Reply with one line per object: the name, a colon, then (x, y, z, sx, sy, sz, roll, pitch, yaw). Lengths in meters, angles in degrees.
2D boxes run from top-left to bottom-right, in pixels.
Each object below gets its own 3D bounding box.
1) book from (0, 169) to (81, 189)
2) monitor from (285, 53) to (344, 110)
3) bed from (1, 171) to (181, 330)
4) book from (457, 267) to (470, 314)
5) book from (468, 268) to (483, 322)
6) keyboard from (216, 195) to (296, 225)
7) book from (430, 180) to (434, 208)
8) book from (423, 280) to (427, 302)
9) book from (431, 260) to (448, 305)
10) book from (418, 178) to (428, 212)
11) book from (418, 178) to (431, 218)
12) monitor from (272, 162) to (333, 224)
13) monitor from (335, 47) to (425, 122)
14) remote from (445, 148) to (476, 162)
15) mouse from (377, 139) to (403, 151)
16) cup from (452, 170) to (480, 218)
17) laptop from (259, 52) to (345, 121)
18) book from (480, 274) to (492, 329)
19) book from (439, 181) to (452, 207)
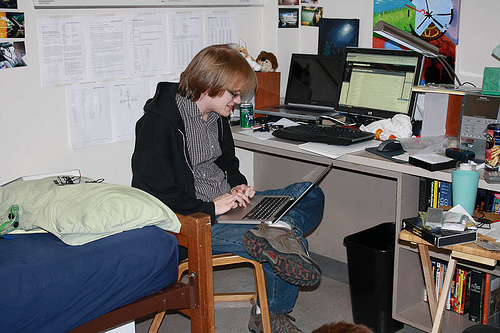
book: (-1.116, 0.053, 2.073, 0.358, 0.040, 0.227, -10, 15, -39)
monitor: (0.375, -0.595, 2.708, 0.368, 0.411, 0.589, -15, 22, -32)
bed: (-0.663, 0.335, 1.562, 0.618, 0.220, 0.601, -9, 22, -37)
book: (1.228, 0.725, 2.144, 0.052, 0.215, 0.221, 3, 3, 20)
book: (1.267, 0.728, 2.063, 0.078, 0.307, 0.034, 11, 17, 43)
keyboard: (0.043, 0.231, 2.003, 0.335, 0.083, 0.330, 4, 13, 21)
book: (1.000, 0.148, 2.018, 0.024, 0.104, 0.105, 0, 4, 23)
book: (1.066, 0.759, 2.230, 0.022, 0.119, 0.029, 4, 13, 21)
book: (1.099, 0.692, 2.163, 0.083, 0.221, 0.185, 6, 14, 27)
book: (0.958, 0.158, 2.035, 0.035, 0.144, 0.141, 1, 3, 9)
book: (0.945, 0.162, 1.986, 0.067, 0.178, 0.191, 4, 11, 24)
monitor: (0.369, 0.174, 2.396, 0.483, 0.022, 0.488, -46, 4, -34)
monitor: (0.873, -0.567, 2.508, 0.072, 0.454, 0.625, -11, 22, -34)
remote: (1.096, -0.061, 1.921, 0.130, 0.059, 0.111, -12, 17, -43)
mouse: (0.791, -0.121, 2.064, 0.149, 0.057, 0.031, -3, 13, -15)
cup: (1.029, 0.120, 1.759, 0.132, 0.221, 0.112, 4, 13, 20)
laptop: (0.361, -0.579, 2.696, 0.509, 0.381, 0.576, -21, 27, -27)
book: (1.311, 0.730, 2.039, 0.042, 0.275, 0.051, 4, 14, 21)
book: (1.056, 0.147, 1.981, 0.059, 0.132, 0.024, 5, 14, 21)
